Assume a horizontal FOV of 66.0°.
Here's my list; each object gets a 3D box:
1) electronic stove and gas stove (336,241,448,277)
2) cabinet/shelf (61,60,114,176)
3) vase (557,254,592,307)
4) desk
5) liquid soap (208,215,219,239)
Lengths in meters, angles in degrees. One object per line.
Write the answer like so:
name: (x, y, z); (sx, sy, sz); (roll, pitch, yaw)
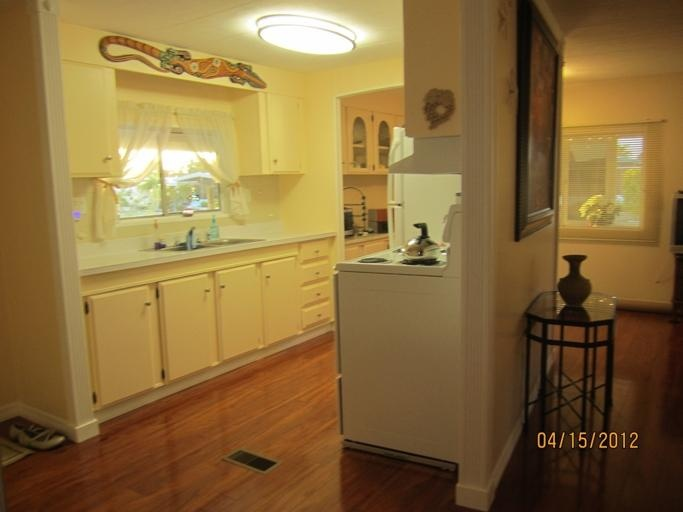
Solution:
electronic stove and gas stove: (0.413, 0.018, 3.257); (0.701, 0.124, 0.542); (2, 9, 27)
cabinet/shelf: (-1.826, -0.992, 3.852); (0.409, 0.814, 0.168); (-8, 12, -31)
vase: (1.543, 0.147, 3.466); (0.201, 0.329, 0.245); (1, 10, 20)
desk: (1.612, 0.750, 3.666); (0.560, 0.663, 1.053); (0, -2, 26)
liquid soap: (-1.202, -0.267, 4.928); (0.110, 0.226, 0.185); (-5, 10, -12)
